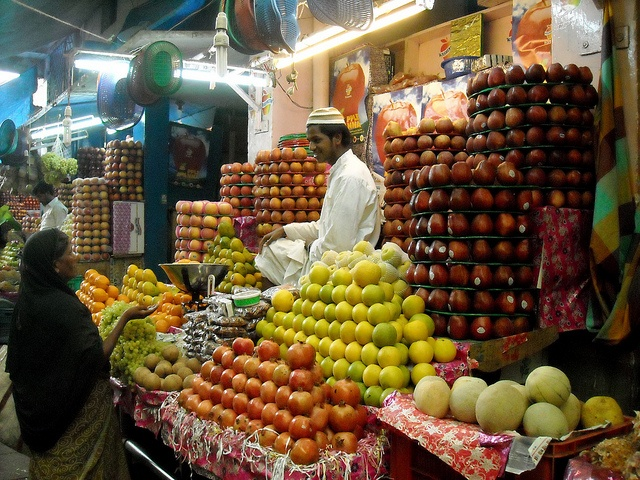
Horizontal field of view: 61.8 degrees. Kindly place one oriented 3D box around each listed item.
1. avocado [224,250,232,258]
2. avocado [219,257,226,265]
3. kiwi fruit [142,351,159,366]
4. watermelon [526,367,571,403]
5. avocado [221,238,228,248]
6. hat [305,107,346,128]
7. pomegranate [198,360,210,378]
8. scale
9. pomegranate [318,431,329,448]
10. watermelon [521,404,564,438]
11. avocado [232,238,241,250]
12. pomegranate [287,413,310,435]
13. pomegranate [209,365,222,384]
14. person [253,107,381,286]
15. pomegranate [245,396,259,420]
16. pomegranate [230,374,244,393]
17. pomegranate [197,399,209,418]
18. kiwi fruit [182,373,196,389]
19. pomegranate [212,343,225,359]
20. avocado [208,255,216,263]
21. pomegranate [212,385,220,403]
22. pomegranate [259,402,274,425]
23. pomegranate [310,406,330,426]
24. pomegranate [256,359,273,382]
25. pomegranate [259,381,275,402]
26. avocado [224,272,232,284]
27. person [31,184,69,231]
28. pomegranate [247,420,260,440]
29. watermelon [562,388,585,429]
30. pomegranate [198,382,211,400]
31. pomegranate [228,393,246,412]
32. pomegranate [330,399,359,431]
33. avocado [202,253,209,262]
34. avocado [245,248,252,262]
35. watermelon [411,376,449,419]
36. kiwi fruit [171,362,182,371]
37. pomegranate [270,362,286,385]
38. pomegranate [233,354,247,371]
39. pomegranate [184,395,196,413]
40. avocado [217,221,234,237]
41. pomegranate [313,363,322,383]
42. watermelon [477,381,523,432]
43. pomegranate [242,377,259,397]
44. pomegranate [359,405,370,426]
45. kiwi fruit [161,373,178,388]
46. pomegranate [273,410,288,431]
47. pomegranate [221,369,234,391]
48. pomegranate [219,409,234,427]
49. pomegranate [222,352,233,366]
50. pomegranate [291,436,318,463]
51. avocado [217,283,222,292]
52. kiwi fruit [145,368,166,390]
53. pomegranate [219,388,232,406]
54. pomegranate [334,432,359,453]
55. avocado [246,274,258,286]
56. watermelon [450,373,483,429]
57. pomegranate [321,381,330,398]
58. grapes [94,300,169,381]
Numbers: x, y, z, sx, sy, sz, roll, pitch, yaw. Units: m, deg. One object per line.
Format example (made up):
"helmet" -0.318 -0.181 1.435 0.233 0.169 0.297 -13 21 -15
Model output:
"avocado" -0.863 0.128 5.020 0.035 0.075 0.133 0 3 -29
"avocado" -0.921 0.193 5.021 0.043 0.038 0.061 -3 30 8
"kiwi fruit" -1.158 0.801 3.654 0.064 0.099 0.074 2 8 5
"watermelon" 1.131 0.719 2.634 0.200 0.179 0.132 1 2 -15
"avocado" -0.916 0.026 5.156 0.070 0.109 0.080 0 4 1
"hat" 0.051 -1.068 4.607 0.322 0.168 0.181 2 2 1
"pomegranate" -0.703 0.791 3.292 0.070 0.106 0.079 2 0 2
"scale" -1.021 0.356 4.394 0.514 0.344 0.303 1 2 -11
"pomegranate" 0.013 1.040 2.787 0.077 0.081 0.044 0 2 -27
"watermelon" 1.063 0.849 2.562 0.117 0.153 0.171 -5 -2 -13
"avocado" -0.798 0.041 5.036 0.128 0.111 0.109 1 2 1
"pomegranate" -0.111 0.941 2.771 0.083 0.101 0.083 1 -7 -38
"pomegranate" -0.627 0.805 3.210 0.071 0.112 0.081 1 2 -2
"person" -0.023 -0.299 4.618 0.814 1.956 0.884 -6 12 -32
"pomegranate" -0.380 0.921 2.939 0.076 0.114 0.082 1 -7 -23
"pomegranate" -0.466 0.818 3.058 0.073 0.110 0.082 3 -8 -21
"pomegranate" -0.680 0.987 3.128 0.069 0.106 0.076 7 1 -1
"kiwi fruit" -0.849 0.909 3.460 0.072 0.112 0.082 3 -1 2
"pomegranate" -0.626 0.686 3.305 0.062 0.095 0.070 1 -2 2
"avocado" -1.064 0.187 5.234 0.066 0.066 0.078 -1 -2 6
"pomegranate" -0.612 0.902 3.137 0.064 0.099 0.072 1 -1 -13
"pomegranate" -0.277 0.931 2.873 0.075 0.116 0.086 2 0 9
"pomegranate" -0.001 0.931 2.865 0.075 0.114 0.084 1 1 -14
"pomegranate" -0.308 0.734 3.000 0.078 0.121 0.090 1 -1 1
"pomegranate" -0.291 0.822 2.934 0.079 0.122 0.090 -1 -3 -1
"avocado" -0.832 0.338 4.820 0.067 0.100 0.074 13 1 11
"person" -4.908 -0.595 9.635 0.489 0.972 0.486 6 9 39
"pomegranate" -0.357 1.006 2.880 0.061 0.081 0.070 35 57 17
"watermelon" 1.240 0.832 2.652 0.101 0.176 0.116 4 10 17
"pomegranate" -0.689 0.898 3.192 0.078 0.113 0.078 2 -2 -41
"pomegranate" -0.469 0.902 3.023 0.082 0.122 0.085 -1 -3 -31
"pomegranate" 0.119 0.940 2.883 0.115 0.148 0.129 1 -11 -4
"avocado" -1.181 0.182 5.503 0.080 0.124 0.094 1 1 0
"avocado" -0.691 0.128 5.065 0.056 0.127 0.063 10 -48 -44
"watermelon" 0.593 0.832 2.856 0.157 0.202 0.167 -4 -7 9
"kiwi fruit" -0.977 0.867 3.639 0.069 0.044 0.089 2 2 19
"pomegranate" -0.228 0.742 2.982 0.073 0.118 0.084 -1 0 -5
"pomegranate" -0.475 0.721 3.130 0.070 0.109 0.079 1 1 0
"pomegranate" -0.773 0.977 3.208 0.068 0.102 0.082 12 -6 3
"avocado" -0.937 -0.101 5.312 0.148 0.160 0.242 1 2 -14
"pomegranate" -0.010 0.744 2.990 0.065 0.101 0.074 -1 2 2
"watermelon" 0.903 0.813 2.609 0.267 0.218 0.141 0 2 -24
"pomegranate" -0.393 0.814 3.012 0.077 0.115 0.081 -2 2 -34
"pomegranate" 0.232 0.963 2.944 0.028 0.103 0.092 2 2 40
"kiwi fruit" -0.976 0.915 3.456 0.074 0.110 0.084 1 2 -1
"pomegranate" -0.207 0.947 2.808 0.069 0.108 0.079 0 -4 -4
"pomegranate" -0.546 0.820 3.138 0.077 0.120 0.088 0 -1 7
"pomegranate" -0.529 1.008 3.022 0.064 0.100 0.079 1 1 -1
"pomegranate" -0.557 0.717 3.219 0.064 0.098 0.071 4 -8 20
"pomegranate" -0.076 1.058 2.733 0.100 0.126 0.105 -7 -6 9
"avocado" -0.909 0.425 4.812 0.060 0.090 0.066 2 2 -11
"kiwi fruit" -1.096 0.919 3.517 0.083 0.123 0.096 1 0 -4
"pomegranate" -0.535 0.904 3.090 0.068 0.105 0.078 1 0 4
"pomegranate" 0.130 1.051 2.781 0.086 0.110 0.097 0 -6 14
"avocado" -0.622 0.356 4.917 0.097 0.093 0.079 13 -7 27
"watermelon" 0.755 0.821 2.750 0.172 0.203 0.169 3 2 38
"pomegranate" 0.038 0.833 2.961 0.050 0.078 0.057 0 1 3
"grapes" -1.387 0.713 3.895 0.443 0.591 0.454 -3 9 -37
